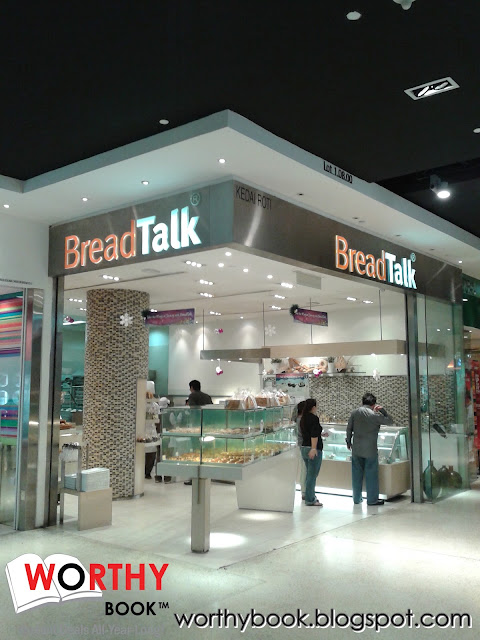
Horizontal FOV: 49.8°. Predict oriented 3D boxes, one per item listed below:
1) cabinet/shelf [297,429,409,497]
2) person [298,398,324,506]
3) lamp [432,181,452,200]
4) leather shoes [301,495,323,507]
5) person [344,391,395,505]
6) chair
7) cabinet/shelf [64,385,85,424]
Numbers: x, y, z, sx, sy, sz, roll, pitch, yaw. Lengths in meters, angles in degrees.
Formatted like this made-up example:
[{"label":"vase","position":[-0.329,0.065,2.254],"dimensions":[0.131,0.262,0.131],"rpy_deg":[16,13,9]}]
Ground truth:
[{"label":"cabinet/shelf","position":[1.752,2.024,7.597],"dimensions":[0.547,0.969,1.468],"rpy_deg":[8,-13,-38]},{"label":"person","position":[0.955,1.772,7.029],"dimensions":[0.308,1.387,0.320],"rpy_deg":[-1,-10,5]},{"label":"lamp","position":[2.165,-1.399,5.531],"dimensions":[0.154,0.084,0.152],"rpy_deg":[-8,-46,7]},{"label":"leather shoes","position":[0.963,2.405,6.878],"dimensions":[0.276,0.112,0.093],"rpy_deg":[-2,-6,4]},{"label":"person","position":[1.751,1.740,7.067],"dimensions":[0.544,1.455,0.466],"rpy_deg":[3,-10,-14]},{"label":"chair","position":[-1.725,1.836,5.813],"dimensions":[0.487,0.864,0.553],"rpy_deg":[9,-13,-40]},{"label":"cabinet/shelf","position":[-4.480,2.241,14.010],"dimensions":[0.721,0.982,0.701],"rpy_deg":[0,-9,-6]}]
